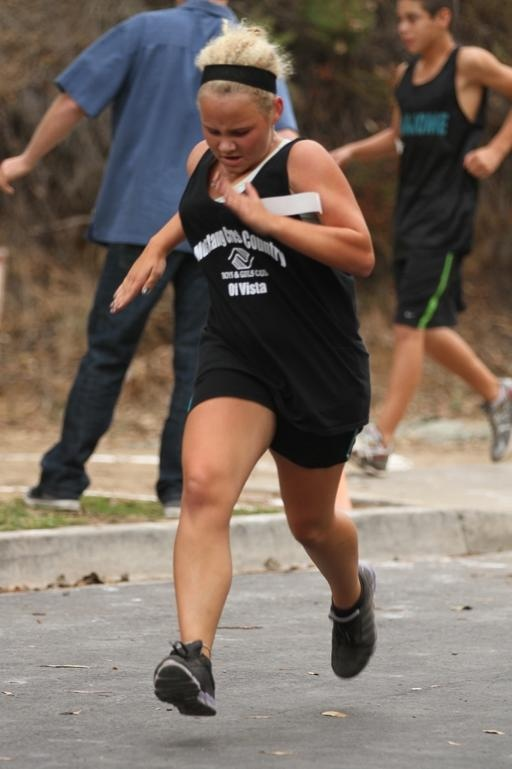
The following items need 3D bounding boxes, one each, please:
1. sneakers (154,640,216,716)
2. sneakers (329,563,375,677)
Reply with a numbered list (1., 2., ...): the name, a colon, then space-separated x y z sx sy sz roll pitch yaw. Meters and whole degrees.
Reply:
1. sneakers: -0.118 0.574 1.962 0.088 0.191 0.091 -5 59 17
2. sneakers: 0.276 0.645 2.780 0.127 0.297 0.140 -1 -6 26
